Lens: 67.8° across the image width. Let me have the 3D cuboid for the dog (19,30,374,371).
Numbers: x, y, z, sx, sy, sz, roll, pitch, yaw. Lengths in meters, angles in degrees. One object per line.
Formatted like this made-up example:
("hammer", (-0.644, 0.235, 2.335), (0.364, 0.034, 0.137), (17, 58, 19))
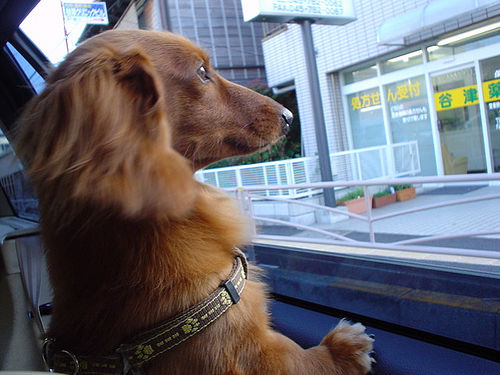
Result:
("dog", (-0.312, 0.068, 1.690), (1.127, 1.210, 1.203), (-1, 0, -26))

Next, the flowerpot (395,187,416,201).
("flowerpot", (2.128, 0.069, 5.084), (0.256, 0.116, 0.180), (-3, -11, -38))

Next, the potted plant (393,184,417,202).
("potted plant", (2.096, 0.091, 5.021), (0.202, 0.137, 0.113), (-3, -12, -40))

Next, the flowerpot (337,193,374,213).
("flowerpot", (1.447, 0.245, 5.074), (0.471, 0.197, 0.325), (-2, -3, -31))

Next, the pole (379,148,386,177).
("pole", (2.241, -0.417, 6.280), (0.086, 0.458, 0.037), (-5, 2, -22))

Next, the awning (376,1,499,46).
("awning", (2.437, -2.365, 5.165), (0.430, 0.418, 1.547), (-5, 2, -31))
